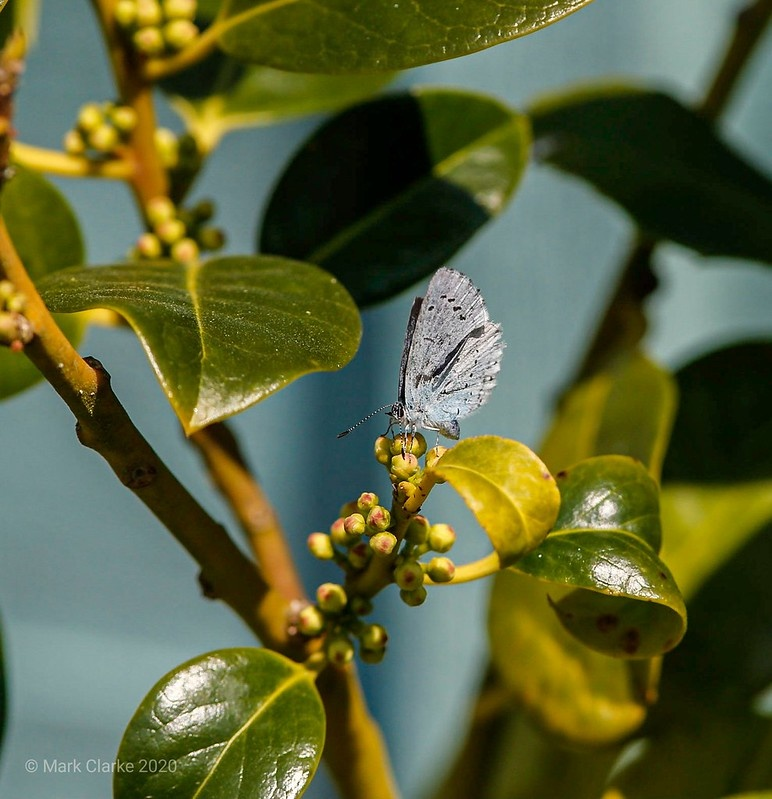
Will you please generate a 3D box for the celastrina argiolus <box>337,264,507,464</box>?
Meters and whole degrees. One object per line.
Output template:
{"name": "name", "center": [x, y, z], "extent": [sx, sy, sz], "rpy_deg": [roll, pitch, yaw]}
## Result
{"name": "celastrina argiolus", "center": [0.028, -0.030, 0.834], "extent": [0.137, 0.134, 0.106], "rpy_deg": [0, -9, 0]}
